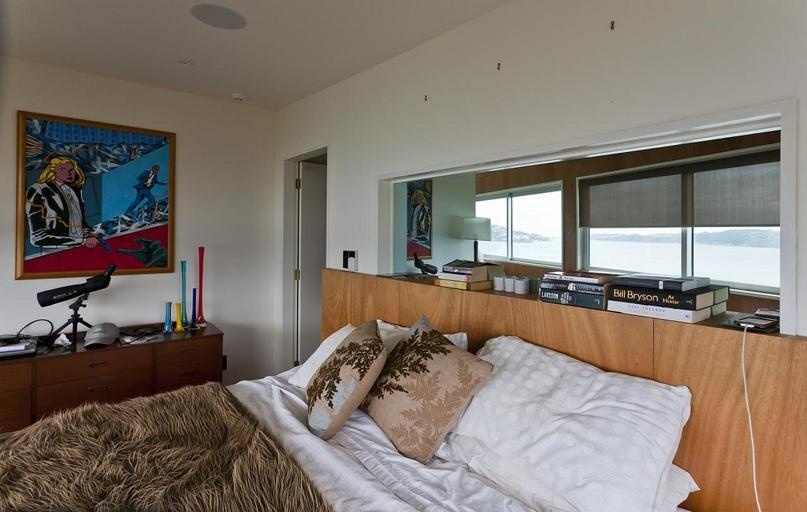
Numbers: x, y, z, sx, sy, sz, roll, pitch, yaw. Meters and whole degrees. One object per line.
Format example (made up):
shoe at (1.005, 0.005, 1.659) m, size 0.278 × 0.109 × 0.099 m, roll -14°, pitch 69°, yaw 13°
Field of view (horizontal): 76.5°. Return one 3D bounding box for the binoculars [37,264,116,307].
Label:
binoculars at (-2.635, 0.275, 4.121) m, size 0.131 × 0.177 × 0.585 m, roll 25°, pitch 27°, yaw 21°

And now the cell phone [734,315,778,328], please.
cell phone at (1.770, 0.328, 2.565) m, size 0.181 × 0.060 × 0.084 m, roll -1°, pitch 2°, yaw -8°

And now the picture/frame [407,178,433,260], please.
picture/frame at (0.110, -0.279, 3.818) m, size 0.260 × 0.561 × 0.019 m, roll 0°, pitch 2°, yaw -36°

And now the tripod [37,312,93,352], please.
tripod at (-2.665, 0.551, 4.041) m, size 0.378 × 0.292 × 0.313 m, roll 4°, pitch 5°, yaw -31°
